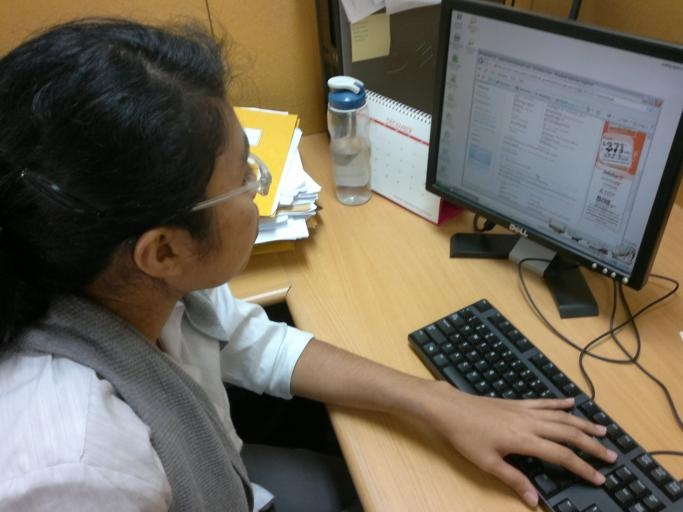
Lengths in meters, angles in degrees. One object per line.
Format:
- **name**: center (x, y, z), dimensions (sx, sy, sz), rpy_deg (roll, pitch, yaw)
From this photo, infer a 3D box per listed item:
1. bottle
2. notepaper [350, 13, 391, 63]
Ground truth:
- **bottle**: center (0.020, -0.265, 1.380), dimensions (0.122, 0.385, 0.131), rpy_deg (-1, 29, 0)
- **notepaper**: center (0.071, -0.525, 1.396), dimensions (0.081, 0.095, 0.014), rpy_deg (-9, 35, -7)
